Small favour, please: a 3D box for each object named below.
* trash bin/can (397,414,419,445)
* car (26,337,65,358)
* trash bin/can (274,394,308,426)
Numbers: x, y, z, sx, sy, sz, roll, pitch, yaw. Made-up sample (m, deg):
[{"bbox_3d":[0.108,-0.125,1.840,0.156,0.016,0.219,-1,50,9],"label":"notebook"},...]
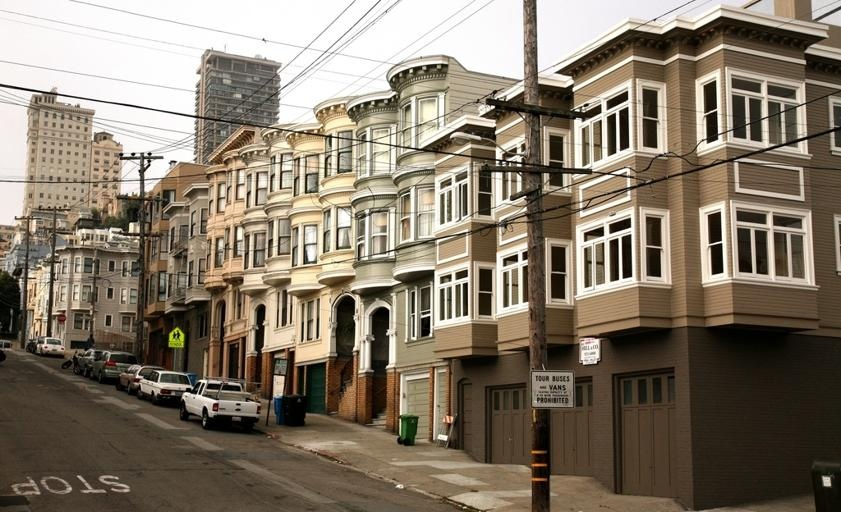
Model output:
[{"bbox_3d":[-0.607,8.387,56.274,0.893,1.494,0.588,7,-15,-15],"label":"trash bin/can"},{"bbox_3d":[-32.488,7.874,101.618,2.123,1.191,4.331,3,-2,-34],"label":"car"},{"bbox_3d":[-6.522,7.950,61.133,1.706,1.572,2.052,3,-4,-32],"label":"trash bin/can"}]
